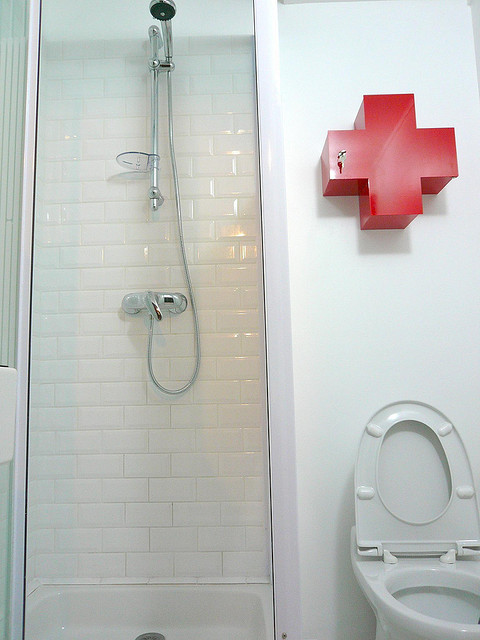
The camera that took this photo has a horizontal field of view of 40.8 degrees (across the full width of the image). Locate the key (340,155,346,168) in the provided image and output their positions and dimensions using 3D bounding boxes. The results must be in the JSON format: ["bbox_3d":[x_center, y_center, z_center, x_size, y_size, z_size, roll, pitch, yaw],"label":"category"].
[{"bbox_3d":[0.308,-0.479,1.940,0.017,0.035,0.009,0,3,8],"label":"key"}]

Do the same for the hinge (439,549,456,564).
[{"bbox_3d":[0.554,0.627,1.721,0.039,0.033,0.027,-4,-10,42],"label":"hinge"}]

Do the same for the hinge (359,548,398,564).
[{"bbox_3d":[0.372,0.632,1.736,0.098,0.031,0.032,-1,3,10],"label":"hinge"}]
